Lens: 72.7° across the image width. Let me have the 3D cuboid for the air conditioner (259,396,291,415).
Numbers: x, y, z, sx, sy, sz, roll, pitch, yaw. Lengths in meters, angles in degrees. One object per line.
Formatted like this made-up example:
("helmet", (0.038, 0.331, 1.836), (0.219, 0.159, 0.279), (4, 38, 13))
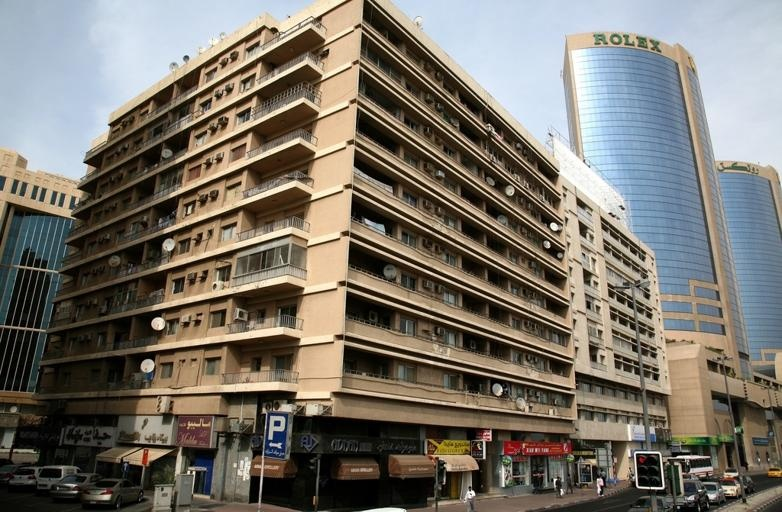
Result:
("air conditioner", (-10.335, 13.203, 47.390), (3.855, 1.584, 1.164), (-13, -29, 30))
